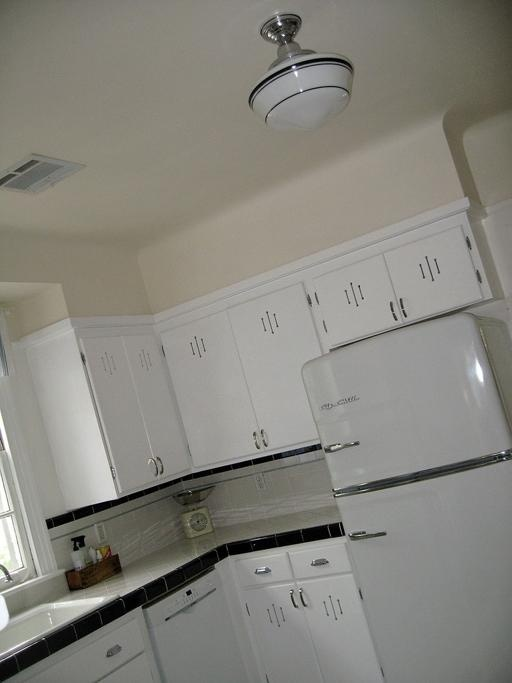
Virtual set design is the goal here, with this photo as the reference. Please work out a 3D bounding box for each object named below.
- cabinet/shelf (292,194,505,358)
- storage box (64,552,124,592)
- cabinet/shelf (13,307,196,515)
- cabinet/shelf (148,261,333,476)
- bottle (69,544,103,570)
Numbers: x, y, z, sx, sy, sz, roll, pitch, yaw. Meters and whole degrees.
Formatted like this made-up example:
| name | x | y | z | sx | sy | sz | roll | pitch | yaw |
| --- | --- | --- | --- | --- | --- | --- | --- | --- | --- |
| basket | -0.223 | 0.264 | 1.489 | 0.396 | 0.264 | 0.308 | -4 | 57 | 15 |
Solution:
| name | x | y | z | sx | sy | sz | roll | pitch | yaw |
| --- | --- | --- | --- | --- | --- | --- | --- | --- | --- |
| cabinet/shelf | 0.725 | -0.307 | 2.978 | 0.910 | 0.449 | 0.272 | -19 | 12 | 17 |
| storage box | -0.839 | 1.211 | 2.876 | 0.275 | 0.165 | 0.203 | -18 | -2 | -21 |
| cabinet/shelf | -0.834 | 0.372 | 3.144 | 0.768 | 1.047 | 0.394 | -19 | -2 | -23 |
| cabinet/shelf | 0.010 | 0.213 | 3.437 | 1.058 | 0.950 | 0.369 | -18 | -9 | 24 |
| bottle | -0.915 | 1.136 | 2.974 | 0.098 | 0.160 | 0.175 | -15 | -13 | 41 |
